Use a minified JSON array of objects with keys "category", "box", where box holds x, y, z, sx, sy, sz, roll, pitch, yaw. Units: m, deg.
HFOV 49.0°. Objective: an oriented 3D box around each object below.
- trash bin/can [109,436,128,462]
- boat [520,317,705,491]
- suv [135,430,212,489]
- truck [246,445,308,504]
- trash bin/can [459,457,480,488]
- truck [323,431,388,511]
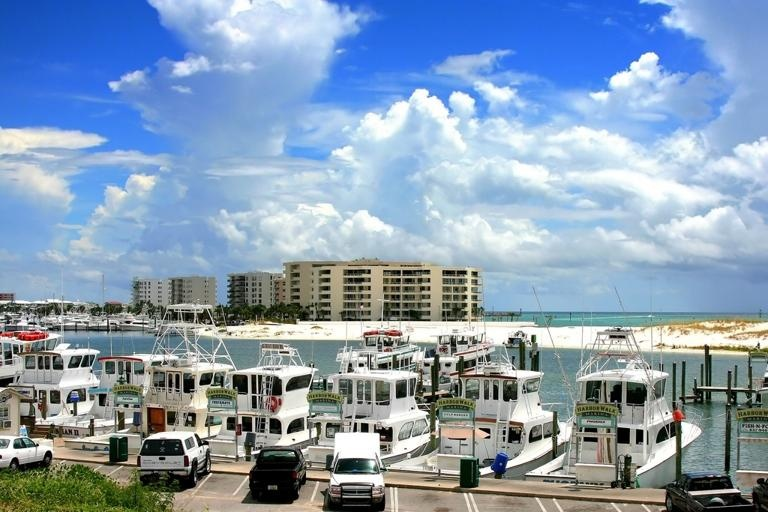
[{"category":"trash bin/can","box":[-15.092,10.918,47.913,0.983,1.341,1.042,1,-3,-18]},{"category":"boat","box":[13.679,8.817,48.992,5.228,9.149,9.447,-2,-3,42]},{"category":"suv","box":[-10.825,10.456,44.621,2.225,1.620,3.739,0,2,7]},{"category":"truck","box":[-5.398,11.024,42.735,1.608,1.260,3.357,1,6,2]},{"category":"trash bin/can","box":[4.542,11.434,44.976,1.411,1.841,1.330,0,0,2]},{"category":"truck","box":[-1.501,10.989,42.652,2.543,2.787,5.932,0,-7,0]}]
